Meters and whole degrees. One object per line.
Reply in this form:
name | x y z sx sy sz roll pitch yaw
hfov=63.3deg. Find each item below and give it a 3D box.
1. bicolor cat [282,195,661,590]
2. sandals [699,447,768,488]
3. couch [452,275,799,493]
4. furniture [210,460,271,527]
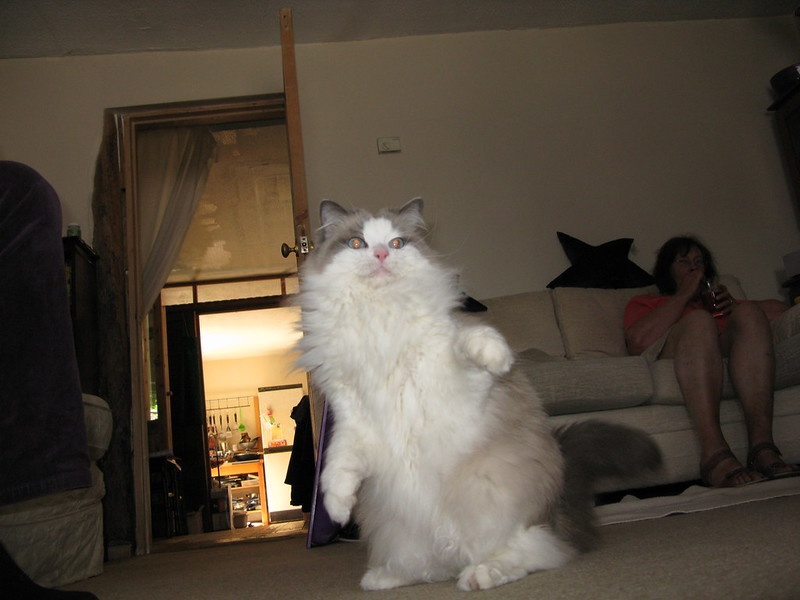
bicolor cat | 0.113 0.535 2.354 0.876 1.176 1.239 -21 -36 22
sandals | 1.330 0.677 2.612 0.088 0.106 0.267 -10 -9 -11
couch | 1.127 0.411 3.282 1.519 0.819 1.060 0 -11 -6
furniture | -1.861 2.282 7.742 0.554 0.731 0.664 -6 0 -7
